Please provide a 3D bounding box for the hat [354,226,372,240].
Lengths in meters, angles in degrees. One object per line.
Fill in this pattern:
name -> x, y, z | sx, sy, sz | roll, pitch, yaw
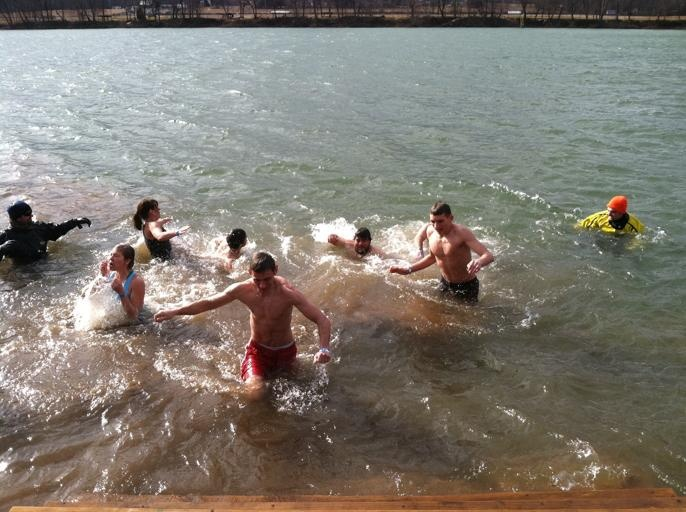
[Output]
hat -> 0.436, -0.466, 13.292 | 0.258, 0.317, 0.252 | 1, 63, 9

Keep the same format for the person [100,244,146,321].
person -> -3.913, 0.479, 10.908 | 0.562, 1.332, 0.931 | -17, 31, -18

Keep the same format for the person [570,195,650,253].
person -> 6.518, -0.867, 14.551 | 1.486, 1.081, 0.881 | 17, 44, 41

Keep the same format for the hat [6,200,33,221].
hat -> -6.961, -1.015, 12.978 | 0.524, 0.430, 0.405 | -21, 34, -20

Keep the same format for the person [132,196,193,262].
person -> -4.095, -0.557, 13.675 | 0.740, 1.429, 1.085 | -29, 46, -7

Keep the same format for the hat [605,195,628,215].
hat -> 6.528, -1.215, 14.375 | 0.388, 0.347, 0.388 | 4, 30, 16

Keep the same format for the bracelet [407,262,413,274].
bracelet -> 1.338, 0.280, 11.987 | 0.058, 0.142, 0.143 | 9, 32, -23

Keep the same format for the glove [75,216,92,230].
glove -> -6.106, -0.775, 14.156 | 0.396, 0.193, 0.713 | -1, 0, -27
